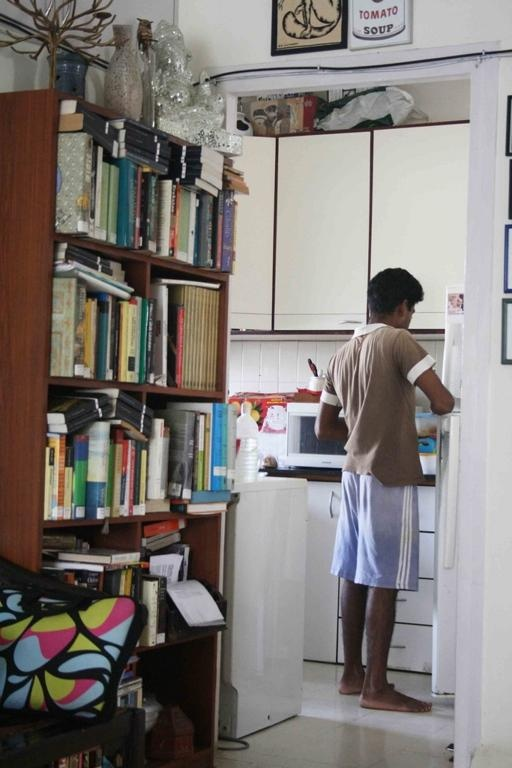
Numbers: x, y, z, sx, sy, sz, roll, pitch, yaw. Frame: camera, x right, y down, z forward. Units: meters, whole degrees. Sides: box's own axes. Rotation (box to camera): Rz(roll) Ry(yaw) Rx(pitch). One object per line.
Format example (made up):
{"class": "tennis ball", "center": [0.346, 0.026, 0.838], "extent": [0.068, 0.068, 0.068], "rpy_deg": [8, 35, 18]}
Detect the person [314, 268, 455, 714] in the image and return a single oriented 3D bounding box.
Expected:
{"class": "person", "center": [0.478, 0.370, 2.929], "extent": [0.330, 1.663, 0.744], "rpy_deg": [4, -7, -16]}

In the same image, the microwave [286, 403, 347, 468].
{"class": "microwave", "center": [0.299, 0.303, 3.731], "extent": [0.332, 0.377, 0.255], "rpy_deg": [-1, -9, 12]}
